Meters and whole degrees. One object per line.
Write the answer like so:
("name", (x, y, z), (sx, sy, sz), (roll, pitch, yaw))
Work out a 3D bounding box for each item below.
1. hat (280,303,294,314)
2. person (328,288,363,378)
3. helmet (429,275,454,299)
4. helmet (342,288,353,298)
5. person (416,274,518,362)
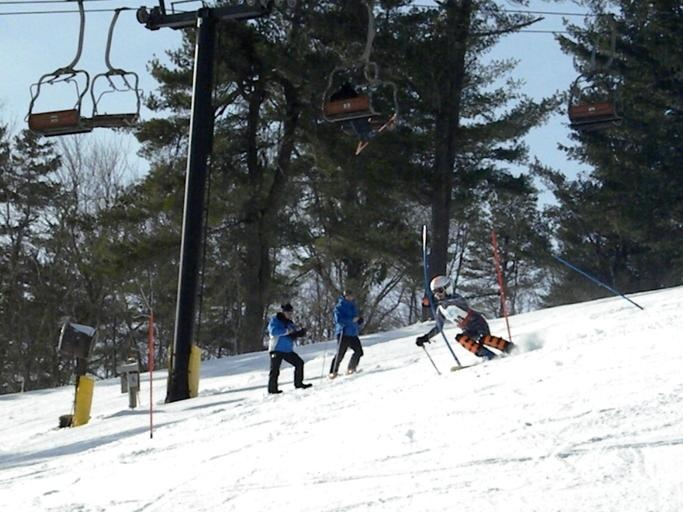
("hat", (-1.183, 1.132, 19.014), (0.273, 0.276, 0.229), (-2, 8, 3))
("person", (0.094, 1.741, 20.233), (0.816, 1.332, 1.750), (-8, 5, 0))
("helmet", (1.915, 0.589, 16.995), (0.406, 0.466, 0.320), (7, -14, -41))
("helmet", (0.158, 0.830, 19.796), (0.214, 0.241, 0.181), (-10, 1, 28))
("person", (2.354, 1.409, 17.029), (1.369, 2.131, 1.148), (-15, -19, -32))
